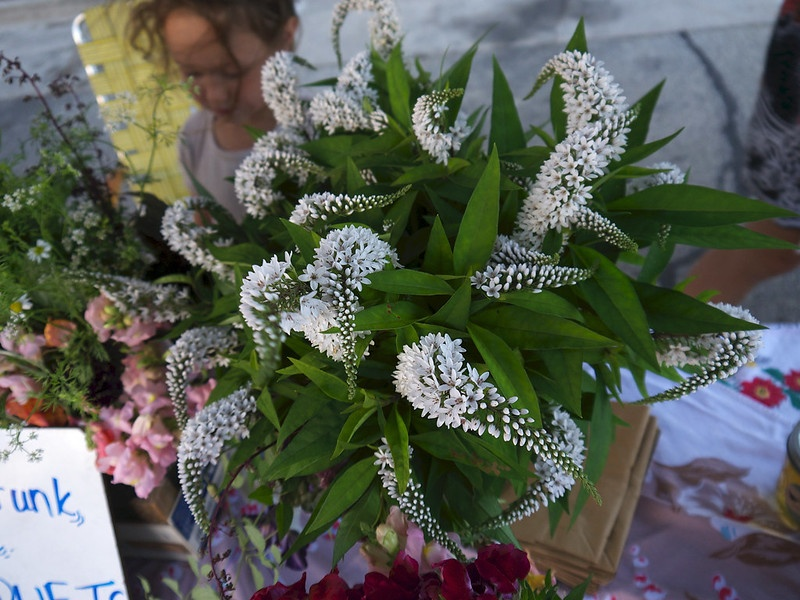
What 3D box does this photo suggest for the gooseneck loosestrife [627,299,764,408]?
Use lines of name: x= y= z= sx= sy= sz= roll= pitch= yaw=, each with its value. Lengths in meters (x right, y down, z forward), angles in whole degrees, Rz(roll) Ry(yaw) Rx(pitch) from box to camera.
gooseneck loosestrife: x=0.443 y=0.071 z=1.109 sx=0.139 sy=0.068 sz=0.148 roll=3 pitch=67 yaw=37

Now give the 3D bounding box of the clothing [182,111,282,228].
clothing: x=-0.363 y=-0.230 z=1.512 sx=0.146 sy=0.208 sz=0.062 roll=-31 pitch=45 yaw=10

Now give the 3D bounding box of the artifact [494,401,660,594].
artifact: x=0.347 y=0.341 z=1.337 sx=0.242 sy=0.088 sz=0.345 roll=-1 pitch=51 yaw=30
